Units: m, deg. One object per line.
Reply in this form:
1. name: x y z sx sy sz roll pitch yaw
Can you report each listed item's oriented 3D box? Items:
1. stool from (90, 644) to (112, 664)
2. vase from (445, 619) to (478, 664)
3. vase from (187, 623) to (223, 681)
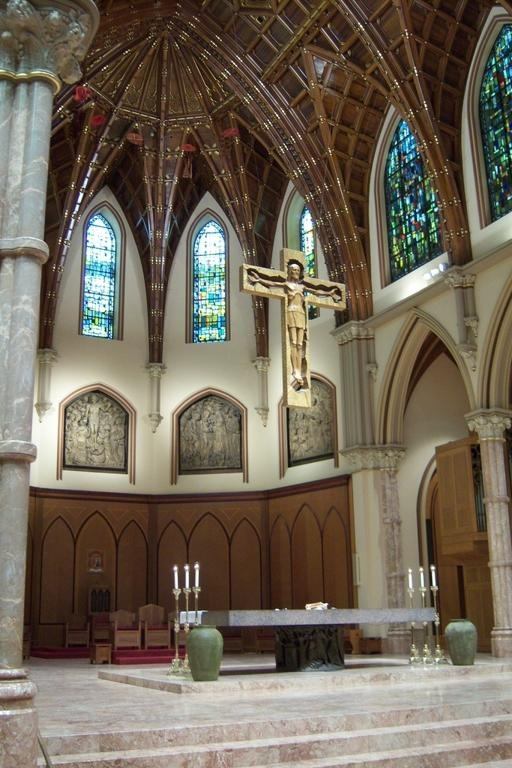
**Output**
1. stool: -3.079 5.419 12.600 0.418 0.423 0.421 1 -15 -9
2. vase: 2.922 3.674 8.887 0.411 0.627 0.408 -5 -14 10
3. vase: -0.603 3.098 7.265 0.526 0.680 0.532 0 -12 -12
